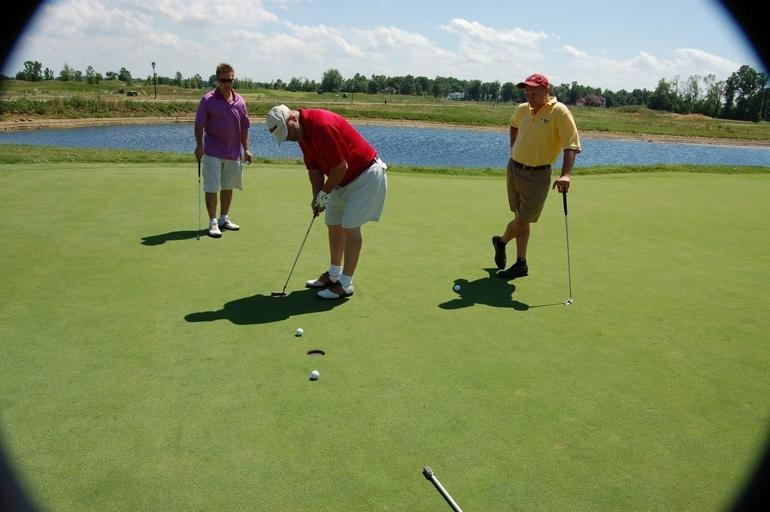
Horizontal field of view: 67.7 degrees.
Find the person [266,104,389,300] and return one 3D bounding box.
[{"bbox_3d":[-0.623,-0.669,6.856,1.032,2.108,1.114,11,18,23],"label":"person"}]

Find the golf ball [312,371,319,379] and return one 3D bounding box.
[{"bbox_3d":[-0.605,1.039,4.998,0.061,0.055,0.059,0,-4,0],"label":"golf ball"}]

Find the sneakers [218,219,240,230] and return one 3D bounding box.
[{"bbox_3d":[-2.360,-0.472,8.746,0.362,0.145,0.132,6,50,-1],"label":"sneakers"}]

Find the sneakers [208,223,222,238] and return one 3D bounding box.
[{"bbox_3d":[-2.477,-0.383,8.368,0.191,0.207,0.181,-1,17,-15],"label":"sneakers"}]

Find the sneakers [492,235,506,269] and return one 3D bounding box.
[{"bbox_3d":[1.483,-0.051,7.539,0.191,0.445,0.171,9,29,40],"label":"sneakers"}]

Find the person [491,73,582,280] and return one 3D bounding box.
[{"bbox_3d":[1.850,-0.983,7.260,0.782,2.462,1.237,-3,18,-22],"label":"person"}]

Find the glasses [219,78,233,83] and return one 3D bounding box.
[{"bbox_3d":[-2.398,-2.641,8.646,0.184,0.083,0.104,-2,17,-21],"label":"glasses"}]

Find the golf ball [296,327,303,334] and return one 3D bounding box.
[{"bbox_3d":[-0.851,0.755,5.741,0.053,0.050,0.044,-2,-29,-41],"label":"golf ball"}]

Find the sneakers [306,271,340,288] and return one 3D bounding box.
[{"bbox_3d":[-0.758,0.284,6.959,0.450,0.173,0.168,-1,8,-7],"label":"sneakers"}]

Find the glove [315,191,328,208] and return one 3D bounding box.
[{"bbox_3d":[-0.723,-0.643,6.567,0.140,0.164,0.182,10,27,24],"label":"glove"}]

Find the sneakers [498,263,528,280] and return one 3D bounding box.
[{"bbox_3d":[1.635,0.190,7.287,0.427,0.248,0.175,1,5,-5],"label":"sneakers"}]

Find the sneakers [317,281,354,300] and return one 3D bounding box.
[{"bbox_3d":[-0.556,0.399,6.640,0.364,0.142,0.200,-1,7,-11],"label":"sneakers"}]

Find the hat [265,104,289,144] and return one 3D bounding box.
[{"bbox_3d":[-1.183,-1.476,6.443,0.245,0.391,0.277,11,-12,-35],"label":"hat"}]
